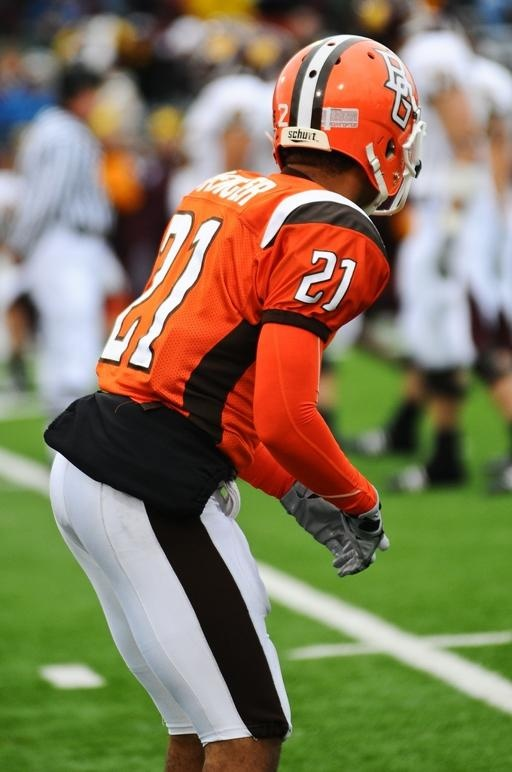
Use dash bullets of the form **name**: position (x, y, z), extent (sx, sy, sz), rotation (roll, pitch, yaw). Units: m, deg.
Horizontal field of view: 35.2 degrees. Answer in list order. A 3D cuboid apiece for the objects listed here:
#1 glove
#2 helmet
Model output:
- **glove**: position (0.123, 0.217, 1.342), extent (0.203, 0.119, 0.061), rotation (25, 43, 39)
- **helmet**: position (0.155, -0.441, 1.423), extent (0.243, 0.274, 0.311), rotation (10, 8, 38)
